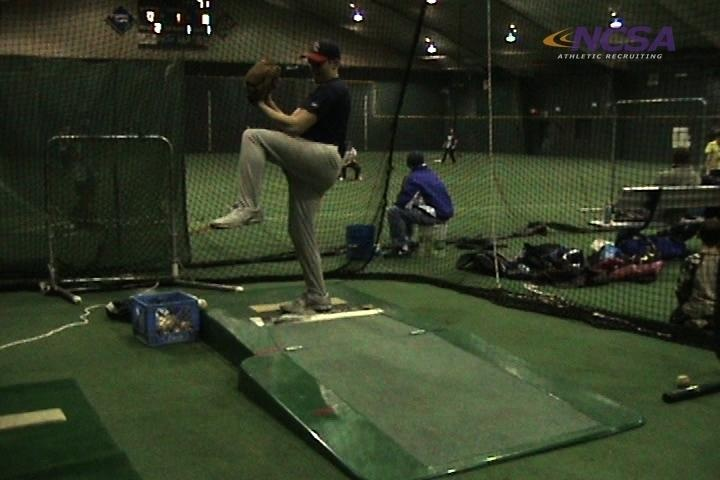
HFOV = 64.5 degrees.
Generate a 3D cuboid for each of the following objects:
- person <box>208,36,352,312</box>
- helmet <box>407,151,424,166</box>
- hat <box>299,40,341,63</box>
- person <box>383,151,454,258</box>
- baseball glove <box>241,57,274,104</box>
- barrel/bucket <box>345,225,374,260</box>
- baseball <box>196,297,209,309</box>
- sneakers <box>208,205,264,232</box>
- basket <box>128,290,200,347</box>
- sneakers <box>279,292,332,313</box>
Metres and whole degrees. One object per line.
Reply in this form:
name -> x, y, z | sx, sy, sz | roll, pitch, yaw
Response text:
person -> -0.639, -0.367, 5.209 | 1.182, 2.155, 0.487 | -5, 9, -24
helmet -> 0.789, -1.194, 8.415 | 0.218, 0.231, 0.262 | -4, 3, -35
hat -> -0.366, -1.689, 5.212 | 0.311, 0.156, 0.205 | 2, 24, -21
person -> 0.845, -0.540, 8.151 | 0.909, 1.440, 0.614 | -1, 8, 3
baseball glove -> -0.871, -1.389, 5.024 | 0.312, 0.339, 0.165 | 32, 6, -12
barrel/bucket -> -0.004, 0.024, 7.548 | 0.472, 0.459, 0.467 | 1, 2, 0
baseball -> -1.568, 0.635, 5.696 | 0.151, 0.082, 0.115 | 10, -19, 45
sneakers -> -1.061, -0.180, 4.864 | 0.355, 0.137, 0.225 | -9, 1, -27
basket -> -1.826, 0.683, 5.356 | 0.563, 0.359, 0.534 | -2, 4, -35
sneakers -> -0.515, 0.605, 5.493 | 0.496, 0.183, 0.192 | 1, -6, -1
